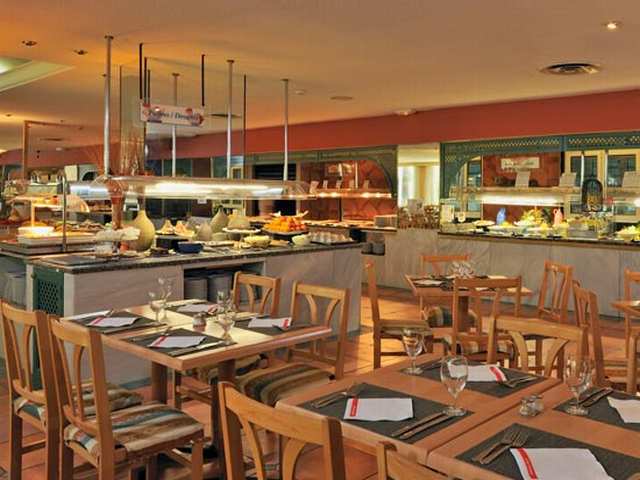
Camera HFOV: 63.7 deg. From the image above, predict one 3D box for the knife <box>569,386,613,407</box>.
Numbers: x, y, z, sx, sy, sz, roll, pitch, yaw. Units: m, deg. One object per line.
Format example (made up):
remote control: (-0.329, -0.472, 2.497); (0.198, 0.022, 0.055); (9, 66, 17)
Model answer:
knife: (1.162, 0.658, 2.186); (0.250, 0.010, 0.073); (-3, 3, -43)

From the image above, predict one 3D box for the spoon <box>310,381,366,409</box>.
spoon: (0.071, 0.652, 2.150); (0.286, 0.017, 0.095); (-7, 11, -34)

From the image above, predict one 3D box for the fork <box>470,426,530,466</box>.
fork: (0.626, 0.704, 1.760); (0.282, 0.024, 0.075); (-14, 16, -41)

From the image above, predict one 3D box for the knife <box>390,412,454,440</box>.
knife: (0.383, 0.680, 1.910); (0.329, 0.012, 0.073); (-5, 6, -38)

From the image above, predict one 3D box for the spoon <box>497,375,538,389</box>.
spoon: (0.907, 0.639, 2.346); (0.167, 0.017, 0.059); (0, 1, -40)
